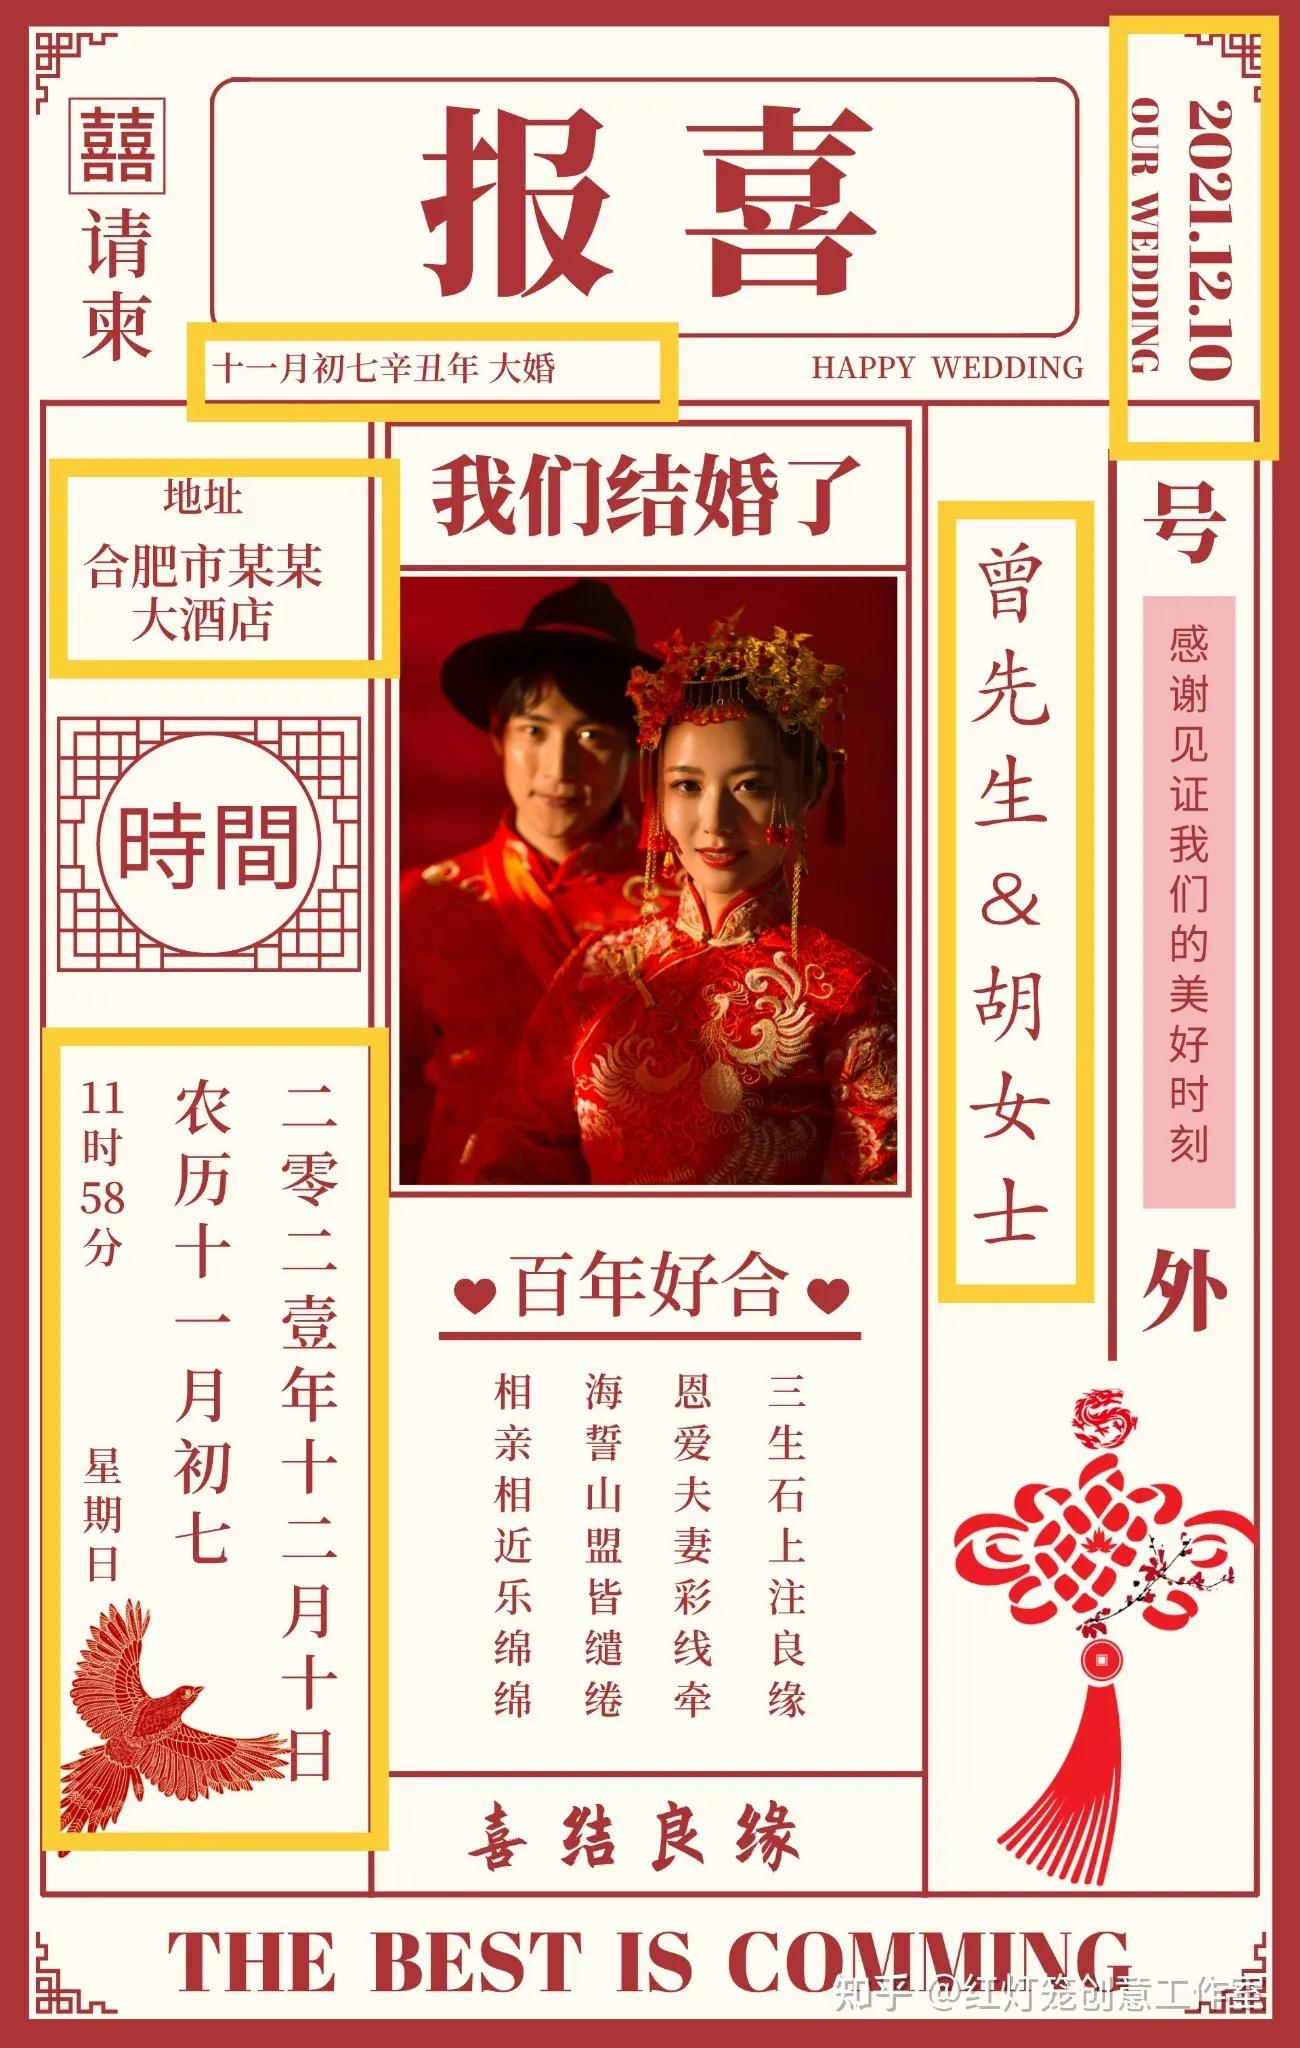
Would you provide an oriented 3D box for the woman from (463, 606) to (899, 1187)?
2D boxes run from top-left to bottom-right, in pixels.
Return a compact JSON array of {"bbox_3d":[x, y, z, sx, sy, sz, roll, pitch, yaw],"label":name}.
[{"bbox_3d":[0.047,-0.171,3.336,0.770,0.880,0.344,3,-1,9],"label":"woman"}]

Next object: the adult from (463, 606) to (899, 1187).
[{"bbox_3d":[0.047,-0.171,3.336,0.770,0.880,0.344,3,-1,9],"label":"adult"}]

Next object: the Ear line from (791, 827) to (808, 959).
[{"bbox_3d":[0.191,-0.175,3.340,0.022,0.152,0.013,0,1,4],"label":"Ear line"}]
